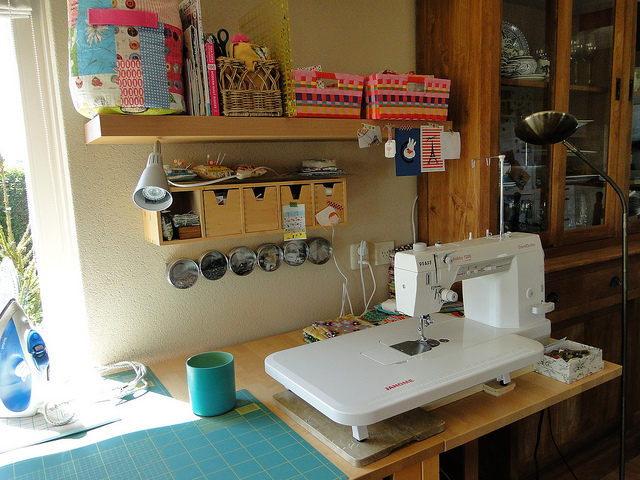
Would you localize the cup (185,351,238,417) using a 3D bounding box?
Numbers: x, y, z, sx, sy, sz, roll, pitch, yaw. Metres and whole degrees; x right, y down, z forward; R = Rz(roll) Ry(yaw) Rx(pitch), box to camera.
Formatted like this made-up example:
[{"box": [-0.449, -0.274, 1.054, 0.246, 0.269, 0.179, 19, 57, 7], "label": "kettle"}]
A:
[{"box": [-0.324, 0.446, 1.591, 0.175, 0.186, 0.180, -3, 12, 1], "label": "cup"}]

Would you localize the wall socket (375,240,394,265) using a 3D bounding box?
[{"box": [0.296, 0.057, 2.274, 0.110, 0.108, 0.011, -7, 9, -40], "label": "wall socket"}]

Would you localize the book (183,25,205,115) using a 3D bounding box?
[{"box": [-0.397, -0.542, 1.572, 0.048, 0.270, 0.025, -2, 11, 8], "label": "book"}]

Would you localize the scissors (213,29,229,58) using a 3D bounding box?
[{"box": [-0.336, -0.689, 1.685, 0.017, 0.088, 0.155, -16, 52, 10], "label": "scissors"}]

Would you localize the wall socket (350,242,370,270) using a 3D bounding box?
[{"box": [0.177, 0.069, 2.209, 0.117, 0.133, 0.014, -5, 8, -26], "label": "wall socket"}]

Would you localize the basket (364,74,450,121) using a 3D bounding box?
[{"box": [0.350, -0.582, 2.030, 0.340, 0.152, 0.188, -3, 11, -19], "label": "basket"}]

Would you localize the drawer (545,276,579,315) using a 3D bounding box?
[{"box": [1.070, 0.235, 2.251, 0.153, 0.171, 0.293, 0, -1, 44], "label": "drawer"}]

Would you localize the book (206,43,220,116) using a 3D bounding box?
[{"box": [-0.347, -0.522, 1.594, 0.034, 0.228, 0.022, -10, 13, -27], "label": "book"}]
